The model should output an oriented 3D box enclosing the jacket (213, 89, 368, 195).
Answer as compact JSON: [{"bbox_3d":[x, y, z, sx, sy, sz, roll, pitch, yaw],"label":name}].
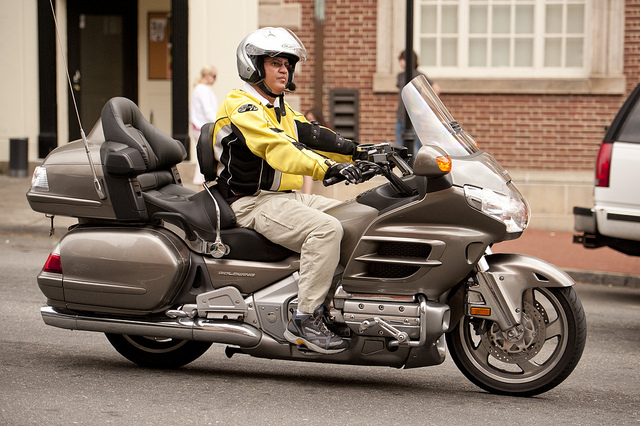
[{"bbox_3d":[-0.247,-0.631,7.007,1.222,0.832,0.967,4,5,17],"label":"jacket"}]

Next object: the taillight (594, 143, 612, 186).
[{"bbox_3d":[3.383,-0.581,9.028,0.105,0.444,0.256,8,3,-4],"label":"taillight"}]

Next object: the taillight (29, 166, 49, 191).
[{"bbox_3d":[-2.642,-0.317,7.085,0.213,0.213,0.063,1,-5,29],"label":"taillight"}]
